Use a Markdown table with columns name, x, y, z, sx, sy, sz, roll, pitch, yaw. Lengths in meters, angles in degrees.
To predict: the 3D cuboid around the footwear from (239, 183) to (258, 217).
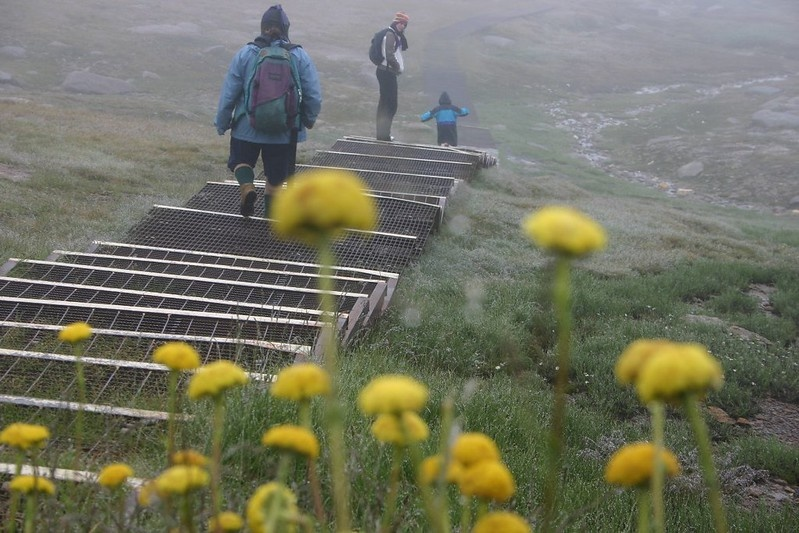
| name | x | y | z | sx | sy | sz | roll | pitch | yaw |
| --- | --- | --- | --- | --- | --- | --- | --- | --- | --- |
| footwear | -1.931 | -0.817 | 7.223 | 0.178 | 0.496 | 0.339 | -3 | 28 | -20 |

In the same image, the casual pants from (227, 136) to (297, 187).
| name | x | y | z | sx | sy | sz | roll | pitch | yaw |
| --- | --- | --- | --- | --- | --- | --- | --- | --- | --- |
| casual pants | -1.700 | -1.300 | 7.174 | 0.955 | 0.698 | 0.511 | 8 | 13 | -2 |

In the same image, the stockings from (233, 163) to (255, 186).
| name | x | y | z | sx | sy | sz | roll | pitch | yaw |
| --- | --- | --- | --- | --- | --- | --- | --- | --- | --- |
| stockings | -1.912 | -1.159 | 7.090 | 0.215 | 0.182 | 0.238 | 8 | 16 | 31 |

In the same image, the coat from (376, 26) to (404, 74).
| name | x | y | z | sx | sy | sz | roll | pitch | yaw |
| --- | --- | --- | --- | --- | --- | --- | --- | --- | --- |
| coat | -0.114 | -4.524 | 11.911 | 0.406 | 0.653 | 0.667 | 3 | 9 | 15 |
